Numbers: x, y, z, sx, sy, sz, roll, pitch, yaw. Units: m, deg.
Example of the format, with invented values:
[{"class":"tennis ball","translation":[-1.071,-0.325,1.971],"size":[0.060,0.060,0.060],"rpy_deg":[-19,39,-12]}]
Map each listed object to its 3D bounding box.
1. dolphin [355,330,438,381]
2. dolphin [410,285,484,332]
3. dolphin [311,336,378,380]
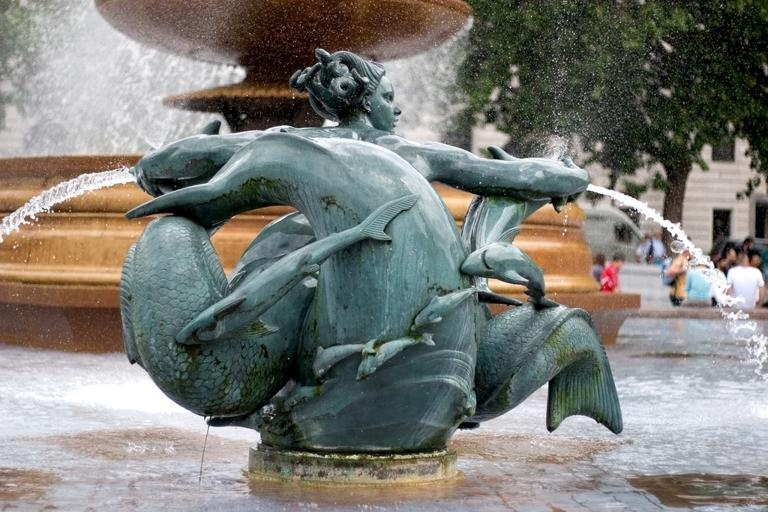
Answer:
[{"class":"dolphin","translation":[0.066,1.190,20.793],"size":[1.059,0.258,0.370],"rpy_deg":[-23,30,3]},{"class":"dolphin","translation":[0.693,0.616,20.931],"size":[0.987,0.325,0.334],"rpy_deg":[-18,22,-17]},{"class":"dolphin","translation":[-0.483,1.234,20.962],"size":[0.901,0.334,0.454],"rpy_deg":[-22,46,-13]}]
